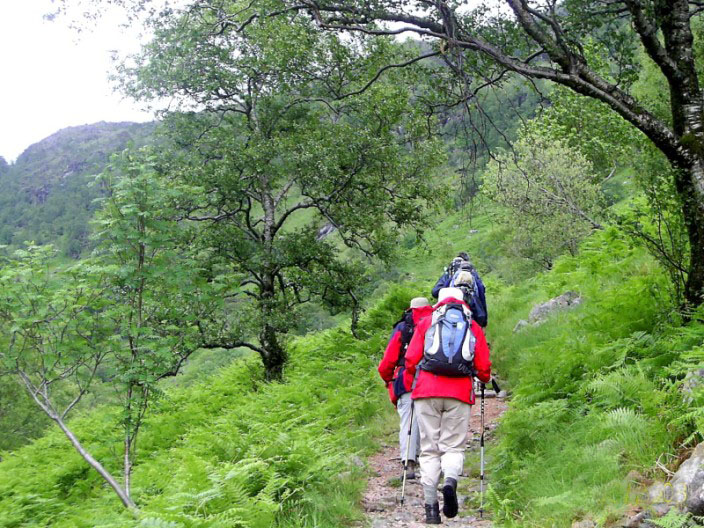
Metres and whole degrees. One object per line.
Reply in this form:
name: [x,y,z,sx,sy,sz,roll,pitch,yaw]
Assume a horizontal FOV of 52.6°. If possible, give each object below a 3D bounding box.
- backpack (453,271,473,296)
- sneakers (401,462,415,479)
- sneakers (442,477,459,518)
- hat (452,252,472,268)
backpack: [2.050,0.347,13.104,0.279,0.423,0.413,12,28,2]
sneakers: [1.037,3.749,12.907,0.165,0.358,0.134,1,4,2]
sneakers: [1.555,3.678,11.191,0.218,0.698,0.275,-1,-2,8]
hat: [2.264,-0.043,14.653,0.231,0.358,0.331,-2,25,-12]
